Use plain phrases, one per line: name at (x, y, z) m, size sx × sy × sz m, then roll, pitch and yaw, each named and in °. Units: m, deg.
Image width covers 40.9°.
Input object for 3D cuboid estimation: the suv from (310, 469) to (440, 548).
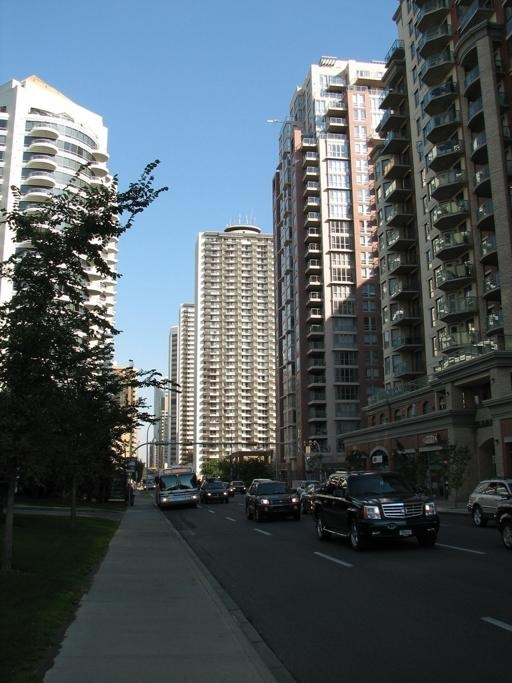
suv at (2.460, 3.769, 15.177) m, size 1.533 × 1.120 × 3.033 m, roll 3°, pitch -21°, yaw -13°
